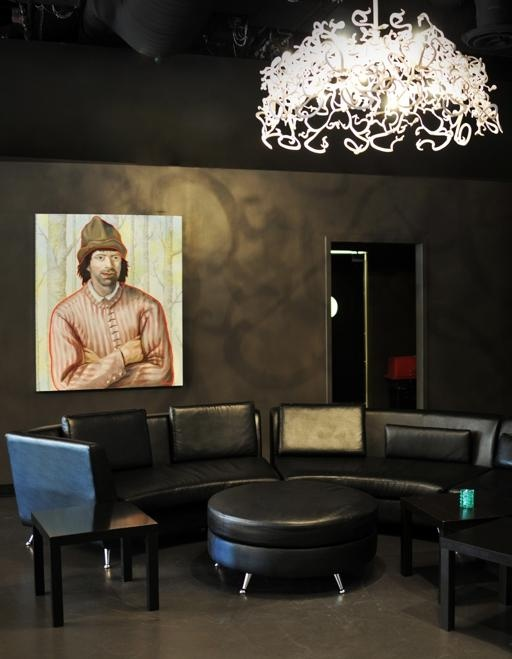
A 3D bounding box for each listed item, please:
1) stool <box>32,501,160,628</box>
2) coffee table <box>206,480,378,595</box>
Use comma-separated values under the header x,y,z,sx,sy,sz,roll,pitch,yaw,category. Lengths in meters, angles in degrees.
x,y,z,sx,sy,sz,roll,pitch,yaw,category
-0.747,1.024,3.072,0.504,0.364,0.499,0,-3,-22,stool
0.212,1.099,3.594,0.946,0.411,0.929,0,1,33,coffee table
